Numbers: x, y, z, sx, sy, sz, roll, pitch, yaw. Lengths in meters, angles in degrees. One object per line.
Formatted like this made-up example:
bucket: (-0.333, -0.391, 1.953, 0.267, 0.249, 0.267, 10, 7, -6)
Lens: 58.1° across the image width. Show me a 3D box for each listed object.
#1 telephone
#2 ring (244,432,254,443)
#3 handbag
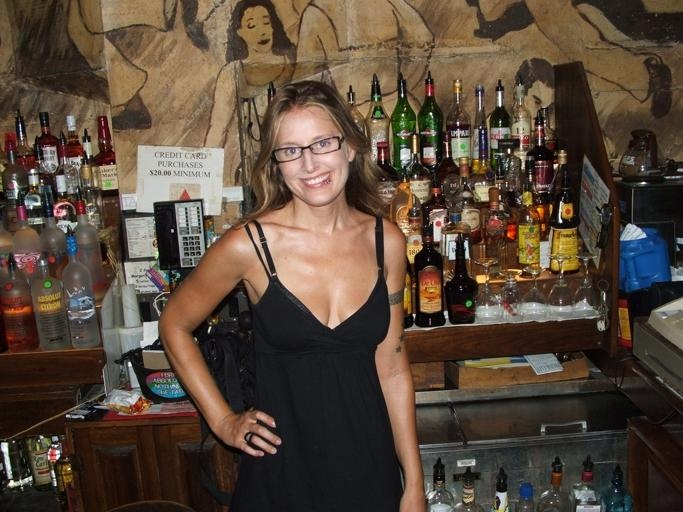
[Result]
telephone: (-0.706, -0.095, 2.621, 0.236, 0.333, 0.085, -1, 3, 2)
ring: (-0.258, 0.506, 1.715, 0.024, 0.034, 0.013, -1, 1, 1)
handbag: (-0.360, 0.405, 2.137, 0.127, 0.232, 0.168, 13, -23, -37)
